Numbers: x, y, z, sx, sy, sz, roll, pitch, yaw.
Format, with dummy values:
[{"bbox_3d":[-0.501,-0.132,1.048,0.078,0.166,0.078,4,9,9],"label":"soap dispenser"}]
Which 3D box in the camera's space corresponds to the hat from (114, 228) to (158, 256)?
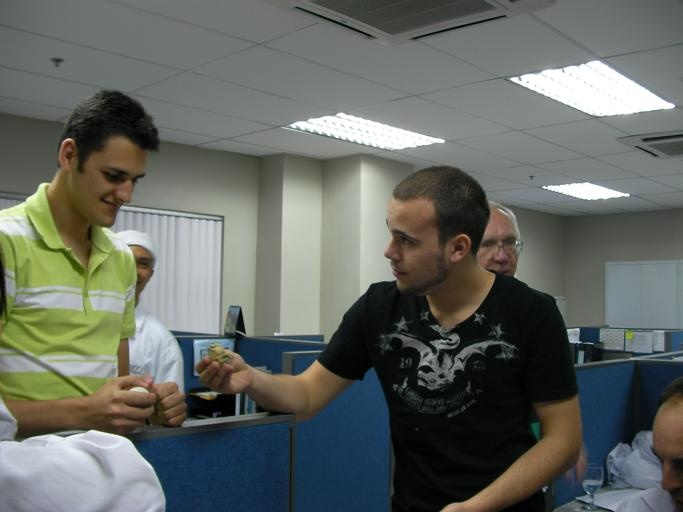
[{"bbox_3d":[-1.229,-0.094,3.369,0.284,0.192,0.361,0,1,-2],"label":"hat"}]
